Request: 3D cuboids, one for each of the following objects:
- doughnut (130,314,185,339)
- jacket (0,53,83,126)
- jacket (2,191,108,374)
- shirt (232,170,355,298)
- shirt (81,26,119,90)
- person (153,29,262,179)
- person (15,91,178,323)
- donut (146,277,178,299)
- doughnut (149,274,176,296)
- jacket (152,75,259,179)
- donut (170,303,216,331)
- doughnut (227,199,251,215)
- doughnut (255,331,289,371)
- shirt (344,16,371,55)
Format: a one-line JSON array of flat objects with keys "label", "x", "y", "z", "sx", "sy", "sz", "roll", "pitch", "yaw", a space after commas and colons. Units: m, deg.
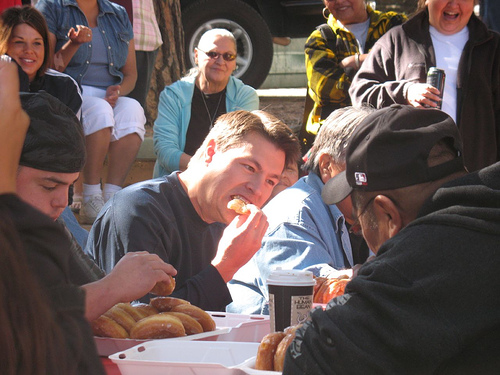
[{"label": "doughnut", "x": -0.343, "y": 0.520, "z": 2.340, "sx": 0.202, "sy": 0.071, "sz": 0.113, "roll": 4, "pitch": 2, "yaw": -14}, {"label": "jacket", "x": -1.580, "y": -0.772, "z": 5.040, "sx": 0.278, "sy": 0.387, "sz": 0.728, "roll": 5, "pitch": 2, "yaw": 30}, {"label": "jacket", "x": -0.461, "y": 0.239, "z": 1.514, "sx": 0.161, "sy": 0.447, "sz": 0.238, "roll": 5, "pitch": 3, "yaw": 32}, {"label": "shirt", "x": 0.365, "y": 0.222, "z": 3.743, "sx": 0.513, "sy": 0.734, "sz": 0.769, "roll": 33, "pitch": 8, "yaw": 27}, {"label": "shirt", "x": -1.406, "y": -1.217, "z": 5.830, "sx": 0.303, "sy": 0.643, "sz": 0.447, "roll": 12, "pitch": 19, "yaw": 33}, {"label": "person", "x": -0.447, "y": -0.721, "z": 6.195, "sx": 0.916, "sy": 1.715, "sz": 1.013, "roll": 6, "pitch": 12, "yaw": -25}, {"label": "person", "x": -0.827, "y": 0.026, "z": 2.846, "sx": 0.907, "sy": 0.998, "sz": 0.732, "roll": -2, "pitch": 3, "yaw": -2}, {"label": "donut", "x": -0.380, "y": 0.431, "z": 2.700, "sx": 0.061, "sy": 0.123, "sz": 0.098, "roll": 53, "pitch": 6, "yaw": 18}, {"label": "doughnut", "x": -0.369, "y": 0.418, "z": 2.696, "sx": 0.081, "sy": 0.060, "sz": 0.078, "roll": -10, "pitch": -12, "yaw": -17}, {"label": "jacket", "x": -0.440, "y": -0.478, "z": 6.073, "sx": 0.889, "sy": 1.278, "sz": 0.679, "roll": 5, "pitch": -7, "yaw": 4}, {"label": "donut", "x": -0.212, "y": 0.499, "z": 2.484, "sx": 0.111, "sy": 0.039, "sz": 0.114, "roll": 32, "pitch": 6, "yaw": -10}, {"label": "doughnut", "x": -0.060, "y": 0.106, "z": 3.479, "sx": 0.113, "sy": 0.032, "sz": 0.070, "roll": 33, "pitch": 47, "yaw": 0}, {"label": "doughnut", "x": 0.070, "y": 0.544, "z": 2.093, "sx": 0.031, "sy": 0.104, "sz": 0.099, "roll": 16, "pitch": 12, "yaw": 4}, {"label": "shirt", "x": 0.981, "y": -1.430, "z": 5.693, "sx": 0.285, "sy": 0.159, "sz": 0.406, "roll": -14, "pitch": 7, "yaw": 3}]
